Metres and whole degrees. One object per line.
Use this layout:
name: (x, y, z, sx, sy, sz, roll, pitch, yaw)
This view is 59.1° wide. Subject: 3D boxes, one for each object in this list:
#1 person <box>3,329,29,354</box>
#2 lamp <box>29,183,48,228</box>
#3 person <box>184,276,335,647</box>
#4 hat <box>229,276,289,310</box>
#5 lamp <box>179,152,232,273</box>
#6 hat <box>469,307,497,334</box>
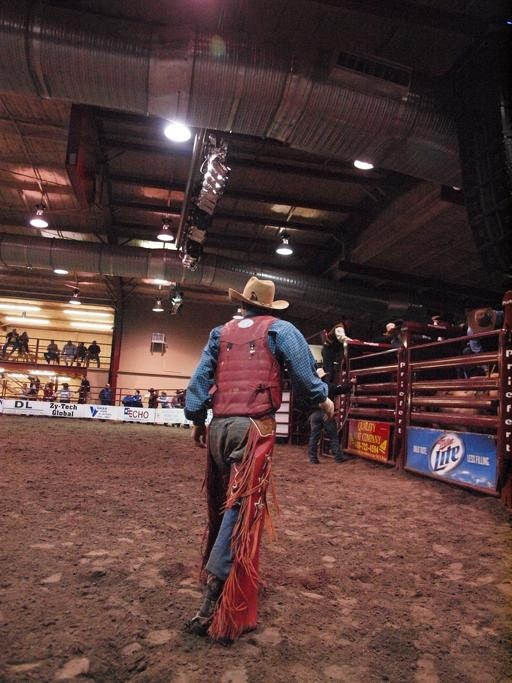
person: (-12.193, 0.019, 22.529, 1.216, 1.356, 1.170, -2, -8, 35)
lamp: (-5.036, -3.221, 10.619, 0.370, 0.846, 0.367, 7, 3, 22)
person: (-0.036, 0.501, 2.443, 0.640, 1.824, 0.638, 5, -7, -20)
hat: (0.001, -0.280, 2.808, 0.290, 0.125, 0.330, 19, -2, -11)
lamp: (-1.228, -2.991, 10.508, 0.489, 0.871, 2.715, 14, -45, -11)
hat: (2.681, -0.253, 5.375, 0.101, 0.333, 0.380, 2, 4, -44)
